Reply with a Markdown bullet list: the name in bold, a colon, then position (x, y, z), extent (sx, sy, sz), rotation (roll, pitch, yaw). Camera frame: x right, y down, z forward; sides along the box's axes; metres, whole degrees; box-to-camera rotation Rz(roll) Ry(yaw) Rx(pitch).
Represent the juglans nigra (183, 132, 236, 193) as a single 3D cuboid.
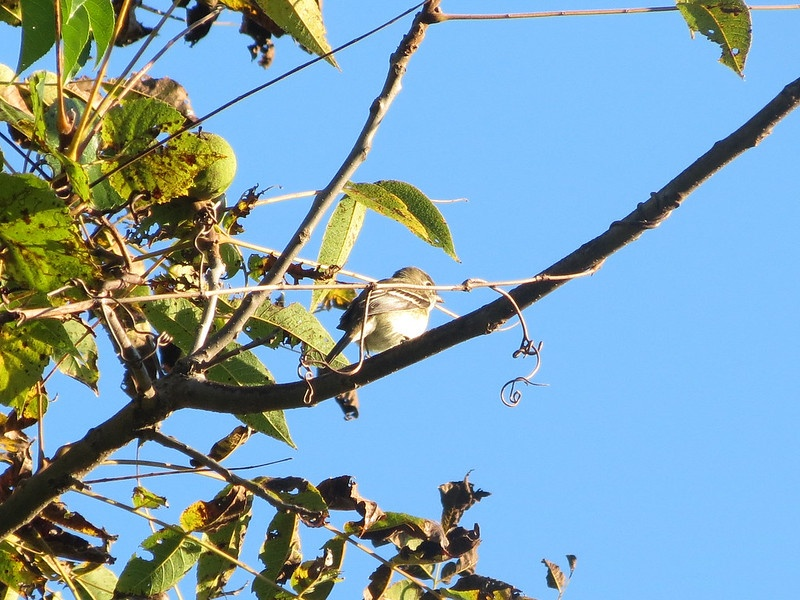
- **juglans nigra**: position (-0.776, -0.561, 6.652), extent (0.182, 0.213, 0.182), rotation (-23, -30, -8)
